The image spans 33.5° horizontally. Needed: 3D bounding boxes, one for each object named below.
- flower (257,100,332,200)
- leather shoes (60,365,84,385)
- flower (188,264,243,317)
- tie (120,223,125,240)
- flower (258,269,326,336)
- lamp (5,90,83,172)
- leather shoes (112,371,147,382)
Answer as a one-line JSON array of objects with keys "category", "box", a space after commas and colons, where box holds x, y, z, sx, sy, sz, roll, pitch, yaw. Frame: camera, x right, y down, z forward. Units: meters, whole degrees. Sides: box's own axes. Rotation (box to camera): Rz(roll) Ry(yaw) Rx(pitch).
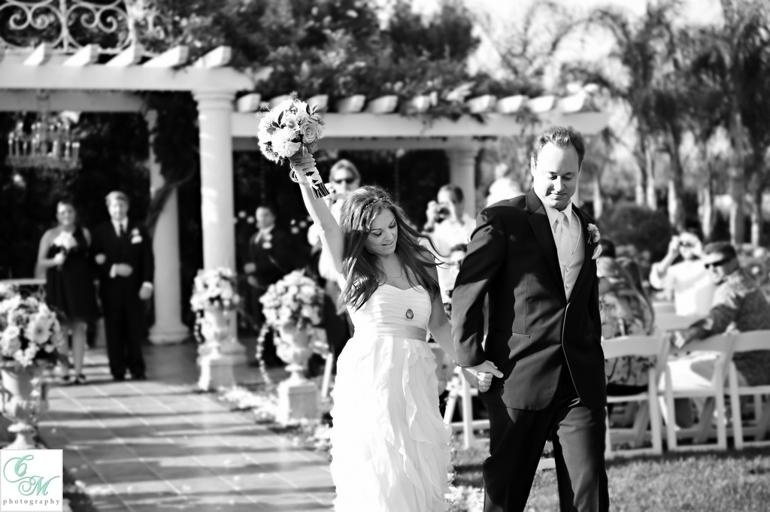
[{"category": "flower", "box": [-0.683, -0.821, 9.666, 0.509, 0.591, 0.655, 20, -7, 19]}, {"category": "leather shoes", "box": [-2.273, 0.869, 9.319, 0.238, 0.173, 0.075, 2, 8, -15]}, {"category": "flower", "box": [-1.269, 0.253, 9.563, 0.323, 0.340, 0.173, 9, -8, -21]}, {"category": "tie", "box": [-1.924, -0.190, 9.348, 0.045, 0.099, 0.011, -1, -4, -12]}, {"category": "flower", "box": [-0.772, 0.385, 10.160, 0.416, 0.357, 0.458, -6, -11, -27]}, {"category": "lamp", "box": [-2.436, -0.901, 9.215, 0.481, 0.503, 0.486, 1, 1, 37]}, {"category": "leather shoes", "box": [-1.864, 0.881, 9.328, 0.243, 0.085, 0.100, -5, -16, 0]}]
